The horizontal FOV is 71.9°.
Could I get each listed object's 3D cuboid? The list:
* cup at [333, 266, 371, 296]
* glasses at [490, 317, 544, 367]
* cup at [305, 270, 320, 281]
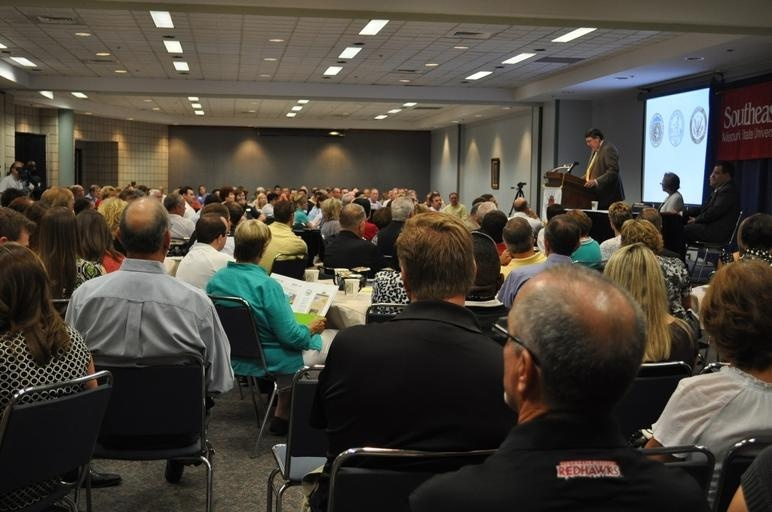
[{"bbox_3d":[-0.263,0.199,4.479,0.244,0.184,0.196,2,-1,-16],"label":"cup"},{"bbox_3d":[0.271,0.182,1.139,0.070,0.019,0.070,21,32,-45],"label":"glasses"},{"bbox_3d":[-0.635,0.173,4.680,0.097,0.078,0.099,0,-3,0],"label":"cup"}]
